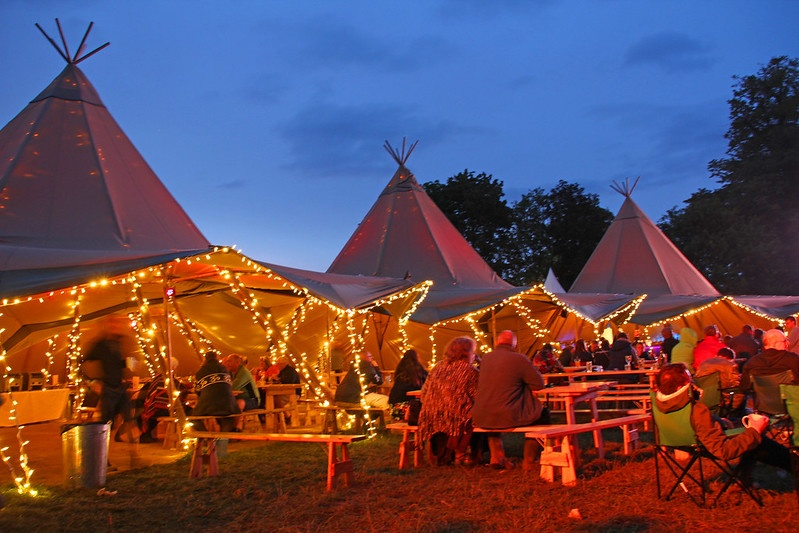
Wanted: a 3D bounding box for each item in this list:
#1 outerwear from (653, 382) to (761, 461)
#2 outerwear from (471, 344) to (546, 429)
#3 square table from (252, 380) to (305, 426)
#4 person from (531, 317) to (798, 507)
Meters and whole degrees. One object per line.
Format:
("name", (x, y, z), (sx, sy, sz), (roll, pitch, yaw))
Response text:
("outerwear", (3.076, 1.580, 6.175), (0.942, 0.659, 0.283), (-3, 9, 19))
("outerwear", (1.127, 1.470, 7.761), (1.311, 0.813, 0.917), (4, -4, 10))
("square table", (-1.768, 2.484, 10.846), (0.969, 0.665, 0.915), (-18, -31, 41))
("person", (3.450, 1.923, 8.169), (0.863, 1.100, 2.912), (0, -4, -12))
